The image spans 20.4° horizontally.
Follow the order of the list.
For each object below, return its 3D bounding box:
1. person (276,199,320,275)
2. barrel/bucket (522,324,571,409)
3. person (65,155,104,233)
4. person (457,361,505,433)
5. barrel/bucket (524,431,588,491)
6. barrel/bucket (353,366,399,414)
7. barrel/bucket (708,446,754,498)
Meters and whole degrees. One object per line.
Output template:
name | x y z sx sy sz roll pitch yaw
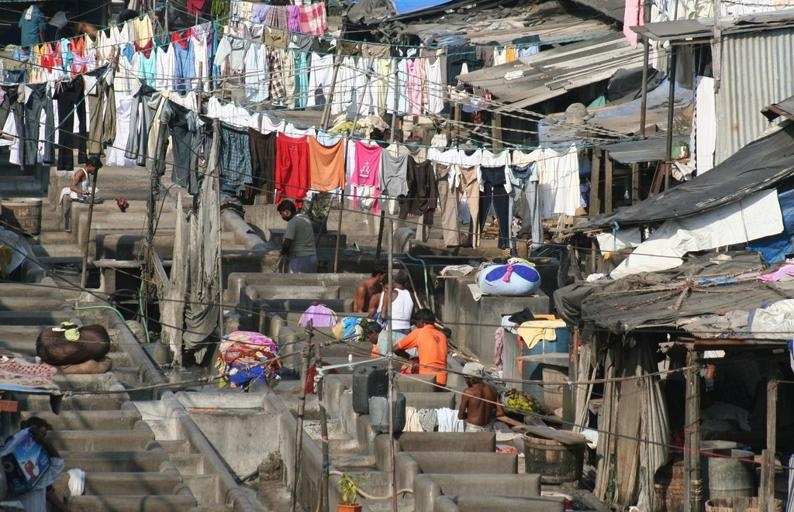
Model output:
person | -2.623 -0.496 56.240 0.880 1.978 0.959 0 1 -35
barrel/bucket | 3.436 2.488 51.235 1.158 2.026 0.888 0 -1 -4
person | -8.429 -1.885 59.929 1.071 2.571 1.112 2 -3 -10
person | 1.795 3.024 48.548 0.961 1.481 0.851 -2 -1 1
barrel/bucket | 3.381 4.361 47.734 1.183 1.168 0.893 -1 0 -4
barrel/bucket | -0.659 2.812 48.678 1.203 1.111 0.639 -5 9 -41
barrel/bucket | 7.158 4.567 47.539 1.059 1.023 1.013 0 3 0
